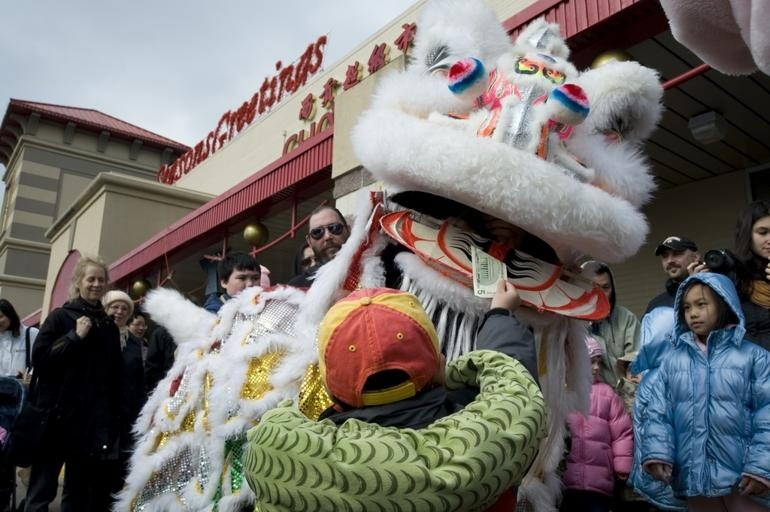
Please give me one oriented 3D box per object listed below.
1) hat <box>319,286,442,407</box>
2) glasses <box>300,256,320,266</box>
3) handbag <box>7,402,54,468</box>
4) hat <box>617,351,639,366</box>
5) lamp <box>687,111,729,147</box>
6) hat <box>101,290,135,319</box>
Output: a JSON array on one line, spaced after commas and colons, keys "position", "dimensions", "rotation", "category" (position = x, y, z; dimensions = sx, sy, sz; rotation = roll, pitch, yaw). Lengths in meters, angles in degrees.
[{"position": [-0.049, 0.254, 2.369], "dimensions": [0.431, 0.291, 0.618], "rotation": [-11, 26, -1], "category": "hat"}, {"position": [-0.441, 0.022, 3.722], "dimensions": [0.057, 0.062, 0.019], "rotation": [-12, 14, 24], "category": "glasses"}, {"position": [-2.483, 1.250, 4.434], "dimensions": [0.287, 0.517, 0.142], "rotation": [16, 9, -26], "category": "handbag"}, {"position": [1.620, 0.694, 4.263], "dimensions": [0.134, 0.112, 0.053], "rotation": [-9, -6, 15], "category": "hat"}, {"position": [3.231, -1.316, 6.349], "dimensions": [0.258, 0.259, 0.274], "rotation": [14, -17, -29], "category": "lamp"}, {"position": [-2.371, 0.413, 5.606], "dimensions": [0.204, 0.210, 0.263], "rotation": [3, -3, -17], "category": "hat"}]
